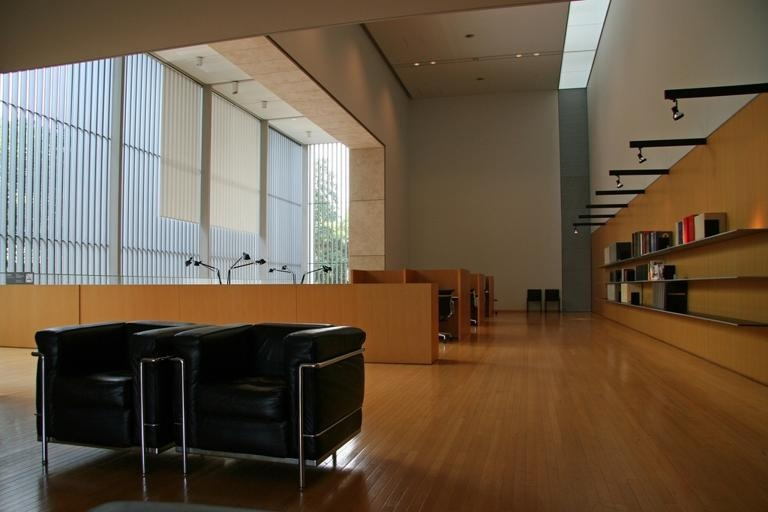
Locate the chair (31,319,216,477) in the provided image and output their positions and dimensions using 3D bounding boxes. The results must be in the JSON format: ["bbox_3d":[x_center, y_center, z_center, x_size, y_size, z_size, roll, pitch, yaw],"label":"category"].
[{"bbox_3d":[-2.209,1.235,5.197,1.182,1.280,1.277,-1,-6,9],"label":"chair"}]

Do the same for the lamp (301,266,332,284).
[{"bbox_3d":[-1.976,0.579,16.416,0.574,0.333,0.404,-18,0,4],"label":"lamp"}]

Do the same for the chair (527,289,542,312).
[{"bbox_3d":[4.646,1.375,17.184,0.475,0.702,0.476,0,4,14],"label":"chair"}]

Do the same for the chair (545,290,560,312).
[{"bbox_3d":[5.157,1.361,17.041,0.470,0.678,0.314,0,4,16],"label":"chair"}]

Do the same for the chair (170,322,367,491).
[{"bbox_3d":[-1.108,1.224,4.885,1.309,1.101,1.195,1,-6,10],"label":"chair"}]
